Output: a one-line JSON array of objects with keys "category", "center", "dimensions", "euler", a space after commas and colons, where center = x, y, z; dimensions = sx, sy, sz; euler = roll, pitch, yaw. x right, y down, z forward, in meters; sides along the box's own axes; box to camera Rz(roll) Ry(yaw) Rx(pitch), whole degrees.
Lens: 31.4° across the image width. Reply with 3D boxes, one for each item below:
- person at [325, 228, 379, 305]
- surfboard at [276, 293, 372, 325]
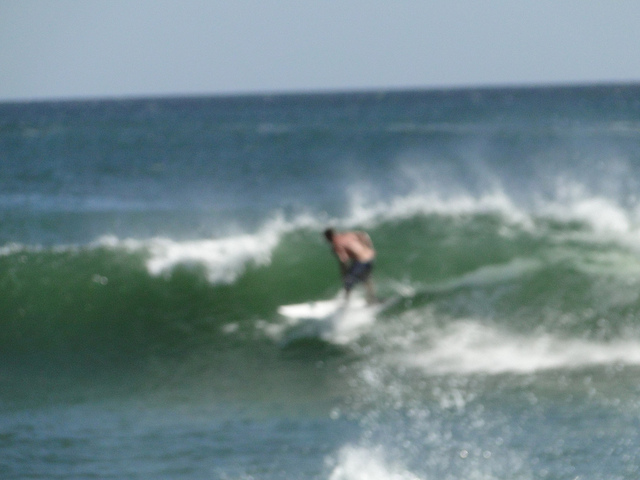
[{"category": "person", "center": [0.489, 0.478, 20.442], "dimensions": [1.020, 1.737, 0.469], "euler": [5, 30, 17]}, {"category": "surfboard", "center": [0.085, 1.214, 20.483], "dimensions": [1.830, 0.583, 0.143], "euler": [-4, -18, 4]}]
